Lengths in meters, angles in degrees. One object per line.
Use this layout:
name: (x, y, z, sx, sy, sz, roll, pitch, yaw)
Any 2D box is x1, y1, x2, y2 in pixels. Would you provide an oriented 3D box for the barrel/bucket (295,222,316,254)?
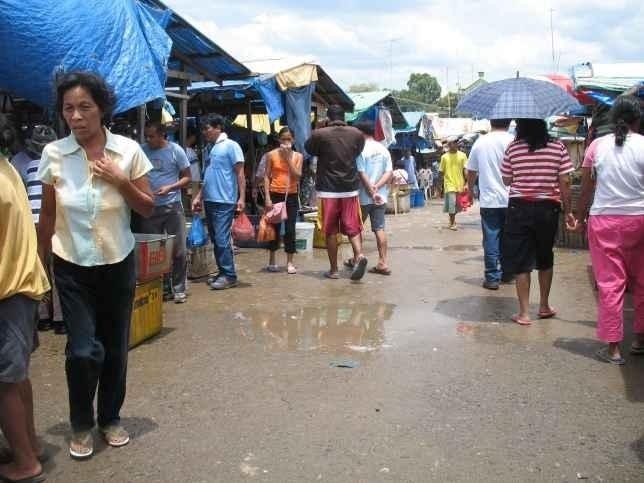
barrel/bucket: (-0.334, -0.077, 11.223, 0.449, 0.495, 0.470, 1, 1, 0)

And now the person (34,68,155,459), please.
person: (-1.464, 0.122, 4.096, 0.822, 2.372, 0.637, -2, 1, -31)

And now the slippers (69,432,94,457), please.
slippers: (-1.529, 1.266, 4.076, 0.091, 0.103, 0.212, 3, 11, -6)

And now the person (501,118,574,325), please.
person: (2.154, -0.201, 6.462, 0.688, 2.033, 0.468, 2, 10, 16)

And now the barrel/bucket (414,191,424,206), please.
barrel/bucket: (3.455, -1.533, 22.791, 0.494, 0.416, 0.514, -2, 2, 0)

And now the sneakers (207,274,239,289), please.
sneakers: (-1.253, 0.501, 8.159, 0.146, 0.178, 0.408, 9, -1, 33)

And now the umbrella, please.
umbrella: (2.162, -1.569, 6.990, 0.837, 0.473, 1.338, -2, 11, -8)

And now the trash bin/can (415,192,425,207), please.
trash bin/can: (3.488, -1.518, 22.890, 0.523, 0.563, 0.542, -1, 0, 7)

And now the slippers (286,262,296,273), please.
slippers: (-0.447, 0.369, 9.236, 0.139, 0.156, 0.383, -1, 1, -7)

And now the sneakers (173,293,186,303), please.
sneakers: (-1.652, 0.643, 7.441, 0.086, 0.084, 0.125, -1, -7, -4)

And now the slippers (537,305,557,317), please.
slippers: (2.362, 0.721, 6.765, 0.191, 0.139, 0.083, -10, 4, -24)

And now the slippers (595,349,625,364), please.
slippers: (2.454, 0.968, 5.477, 0.091, 0.075, 0.233, -2, 1, -17)

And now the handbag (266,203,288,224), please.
handbag: (-0.620, -0.395, 8.665, 0.251, 0.248, 0.144, -6, -4, 16)
